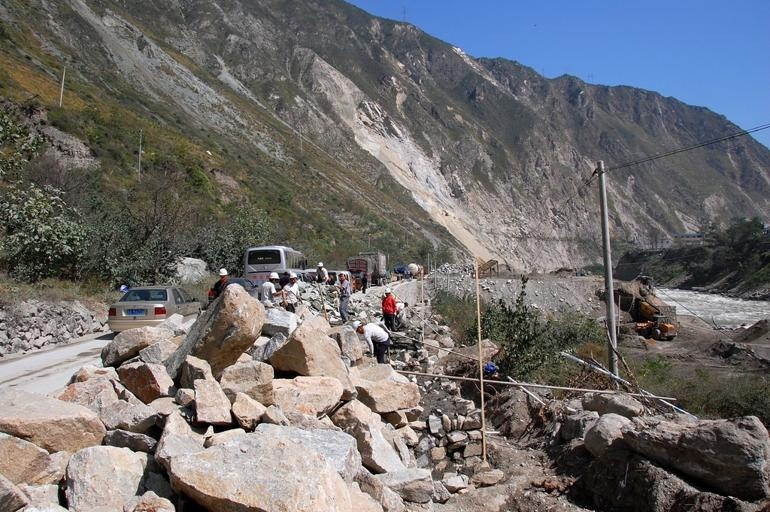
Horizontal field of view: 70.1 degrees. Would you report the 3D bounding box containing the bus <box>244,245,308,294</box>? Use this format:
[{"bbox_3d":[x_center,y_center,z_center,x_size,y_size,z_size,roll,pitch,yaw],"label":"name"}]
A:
[{"bbox_3d":[-5.377,0.504,28.470,1.684,2.309,4.758,1,3,18],"label":"bus"}]

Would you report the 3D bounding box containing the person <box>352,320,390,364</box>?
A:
[{"bbox_3d":[-0.390,2.718,17.182,1.079,1.819,0.766,-3,27,5],"label":"person"}]

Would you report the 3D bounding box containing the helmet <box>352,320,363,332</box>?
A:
[{"bbox_3d":[-0.905,2.343,18.480,0.324,0.329,0.434,16,-30,-8],"label":"helmet"}]

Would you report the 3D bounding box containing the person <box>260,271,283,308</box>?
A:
[{"bbox_3d":[-4.286,1.308,21.024,0.868,1.227,0.655,18,17,35],"label":"person"}]

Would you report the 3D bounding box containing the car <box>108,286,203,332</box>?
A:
[{"bbox_3d":[-7.902,1.810,18.891,2.623,1.733,1.807,7,-3,-36],"label":"car"}]

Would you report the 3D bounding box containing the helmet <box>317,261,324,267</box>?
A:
[{"bbox_3d":[-4.007,0.482,33.907,0.453,0.223,0.561,-1,2,-9],"label":"helmet"}]

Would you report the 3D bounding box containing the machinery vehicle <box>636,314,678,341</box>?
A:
[{"bbox_3d":[16.380,4.336,33.339,1.273,1.207,2.365,3,3,-32],"label":"machinery vehicle"}]

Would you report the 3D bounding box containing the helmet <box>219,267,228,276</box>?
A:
[{"bbox_3d":[-7.292,0.700,24.911,0.404,0.345,0.611,6,-2,-5],"label":"helmet"}]

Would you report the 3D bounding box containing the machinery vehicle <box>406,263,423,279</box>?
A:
[{"bbox_3d":[3.301,1.651,60.777,1.046,0.836,1.870,5,-6,24],"label":"machinery vehicle"}]

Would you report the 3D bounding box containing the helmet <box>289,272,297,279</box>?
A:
[{"bbox_3d":[-3.338,0.711,20.031,0.259,0.239,0.476,5,-2,-12],"label":"helmet"}]

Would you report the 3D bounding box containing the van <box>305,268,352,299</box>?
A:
[{"bbox_3d":[-3.585,1.774,32.591,1.590,1.481,2.935,1,5,21],"label":"van"}]

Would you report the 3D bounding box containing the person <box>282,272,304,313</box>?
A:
[{"bbox_3d":[-3.431,1.300,20.154,0.608,1.415,0.761,5,-2,-14],"label":"person"}]
